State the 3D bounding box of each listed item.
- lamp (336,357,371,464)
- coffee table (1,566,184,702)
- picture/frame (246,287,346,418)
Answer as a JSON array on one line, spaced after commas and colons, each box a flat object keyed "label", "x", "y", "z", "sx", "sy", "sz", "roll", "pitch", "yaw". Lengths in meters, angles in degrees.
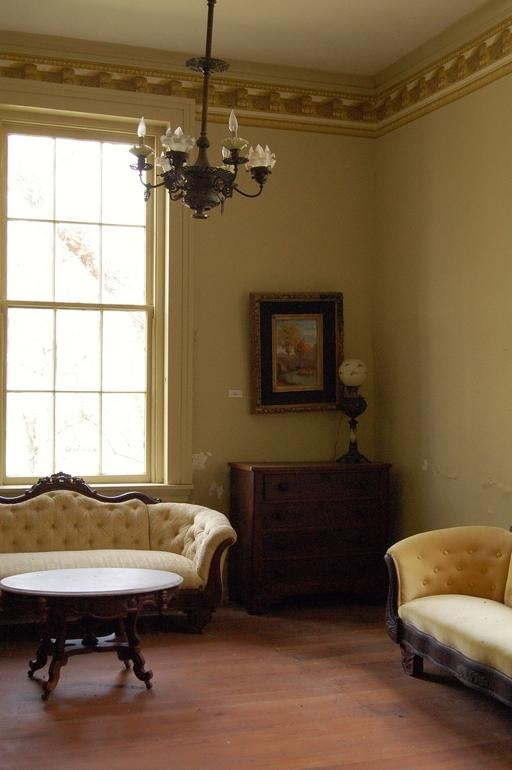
[{"label": "lamp", "x": 0.726, "y": 0.201, "z": 5.168, "sx": 0.202, "sy": 0.761, "sz": 0.449, "roll": 0, "pitch": -6, "yaw": 6}, {"label": "coffee table", "x": -0.733, "y": 1.006, "z": 3.087, "sx": 0.639, "sy": 0.396, "sz": 0.669, "roll": -1, "pitch": -1, "yaw": 32}, {"label": "picture/frame", "x": 0.265, "y": -0.228, "z": 5.110, "sx": 1.023, "sy": 1.172, "sz": 0.098, "roll": 0, "pitch": 0, "yaw": -21}]
